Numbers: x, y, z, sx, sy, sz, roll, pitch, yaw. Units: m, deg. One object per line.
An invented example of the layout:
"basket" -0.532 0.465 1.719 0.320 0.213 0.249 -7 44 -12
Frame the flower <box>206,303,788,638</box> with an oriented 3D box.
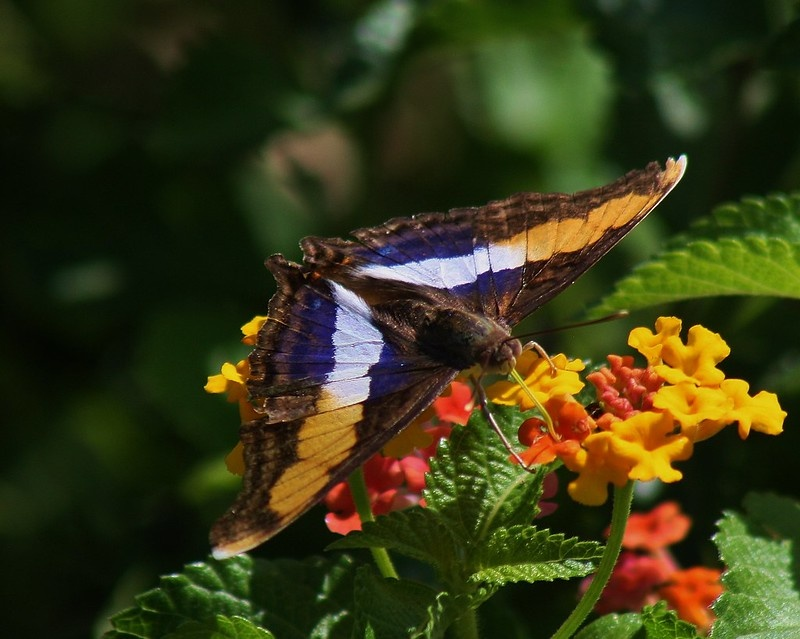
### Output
"flower" 0.328 0.175 2.089 0.797 0.290 0.829 -20 29 -20
